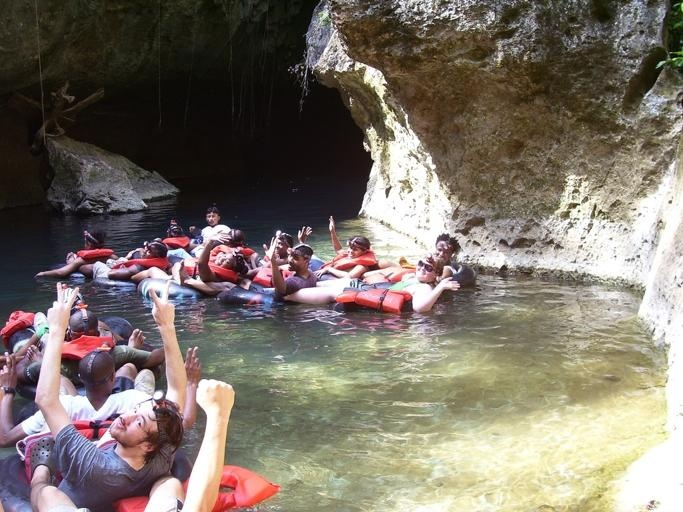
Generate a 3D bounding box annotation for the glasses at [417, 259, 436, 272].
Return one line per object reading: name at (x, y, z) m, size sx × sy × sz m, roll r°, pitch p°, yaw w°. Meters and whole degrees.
glasses at (1.263, 0.143, 7.763) m, size 0.254 × 0.159 × 0.116 m, roll 0°, pitch 13°, yaw 5°
